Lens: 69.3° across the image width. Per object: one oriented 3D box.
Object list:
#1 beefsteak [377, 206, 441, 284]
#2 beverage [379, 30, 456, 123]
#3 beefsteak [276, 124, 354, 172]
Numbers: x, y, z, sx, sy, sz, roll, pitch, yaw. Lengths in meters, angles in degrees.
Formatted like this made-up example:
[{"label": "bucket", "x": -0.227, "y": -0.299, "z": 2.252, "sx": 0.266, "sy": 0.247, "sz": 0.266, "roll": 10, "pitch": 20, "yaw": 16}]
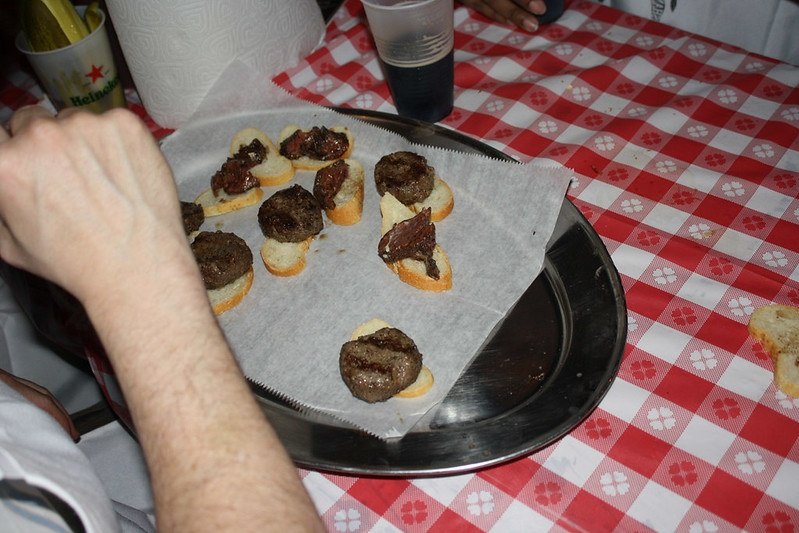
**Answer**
[{"label": "beefsteak", "x": 0.086, "y": -0.093, "z": 2.676, "sx": 0.308, "sy": 0.082, "sz": 0.308, "roll": 20, "pitch": 61, "yaw": 26}, {"label": "beverage", "x": 0.119, "y": -0.978, "z": 3.050, "sx": 0.419, "sy": 0.447, "sz": 0.432, "roll": -4, "pitch": 52, "yaw": 14}, {"label": "beefsteak", "x": -0.457, "y": -0.644, "z": 3.112, "sx": 0.351, "sy": 0.113, "sz": 0.267, "roll": 4, "pitch": 62, "yaw": 12}]
